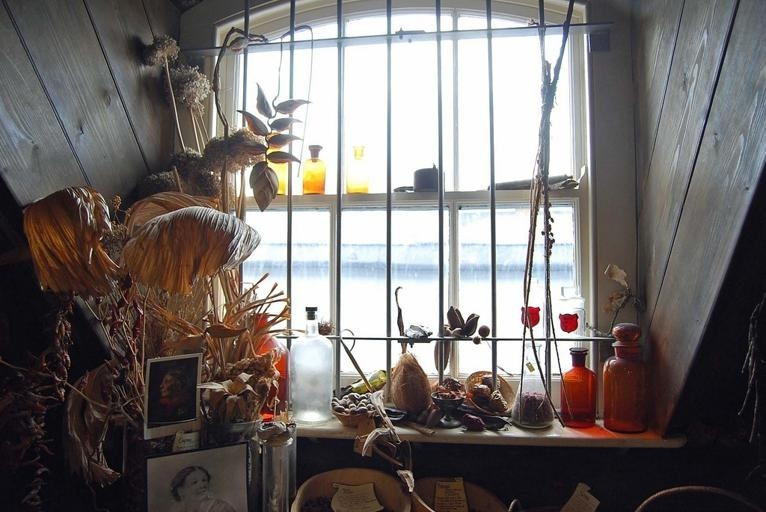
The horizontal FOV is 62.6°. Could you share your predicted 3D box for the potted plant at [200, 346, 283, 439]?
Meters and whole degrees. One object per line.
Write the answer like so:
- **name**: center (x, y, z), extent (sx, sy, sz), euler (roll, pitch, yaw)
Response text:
- **potted plant**: center (-0.462, 0.469, 2.155), extent (0.244, 0.366, 0.264), euler (2, -12, -3)
